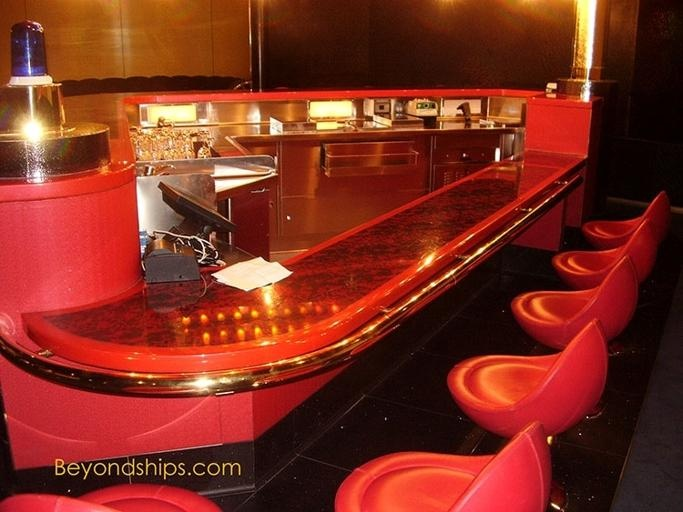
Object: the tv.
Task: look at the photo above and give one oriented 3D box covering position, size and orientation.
[{"bbox_3d":[-0.643,-0.136,2.247,0.351,0.268,0.331,9,11,12],"label":"tv"}]
